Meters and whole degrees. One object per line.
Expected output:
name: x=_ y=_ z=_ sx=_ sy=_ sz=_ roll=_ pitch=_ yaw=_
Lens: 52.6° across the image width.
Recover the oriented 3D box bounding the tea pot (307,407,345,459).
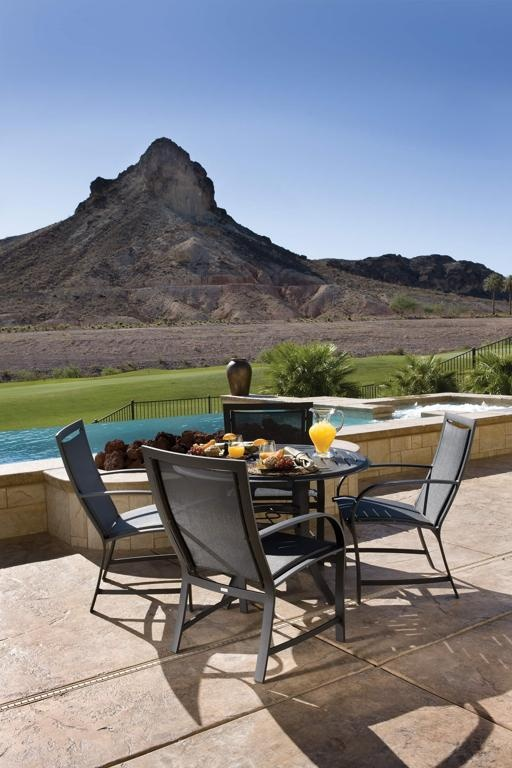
tea pot: x=0.386 y=0.272 z=2.897 sx=0.264 sy=0.312 sz=0.184 roll=2 pitch=-5 yaw=-32

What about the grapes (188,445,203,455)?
grapes: x=-0.301 y=0.332 z=2.603 sx=0.052 sy=0.032 sz=0.054 roll=-4 pitch=4 yaw=-37

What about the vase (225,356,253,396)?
vase: x=-0.502 y=-0.182 z=14.999 sx=0.660 sy=1.079 sz=0.570 roll=-1 pitch=7 yaw=-9

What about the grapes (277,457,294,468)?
grapes: x=0.137 y=0.367 z=2.351 sx=0.046 sy=0.041 sz=0.061 roll=18 pitch=0 yaw=-36

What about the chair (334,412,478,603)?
chair: x=0.794 y=0.637 z=2.855 sx=0.722 sy=0.938 sz=0.712 roll=1 pitch=1 yaw=-16

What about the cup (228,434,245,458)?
cup: x=-0.096 y=0.322 z=2.624 sx=0.096 sy=0.141 sz=0.102 roll=0 pitch=-3 yaw=0

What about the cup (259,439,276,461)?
cup: x=0.053 y=0.325 z=2.533 sx=0.082 sy=0.124 sz=0.085 roll=0 pitch=4 yaw=0

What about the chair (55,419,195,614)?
chair: x=-0.830 y=0.644 z=3.081 sx=0.826 sy=1.384 sz=0.867 roll=-4 pitch=6 yaw=-8

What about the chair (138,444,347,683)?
chair: x=-0.015 y=0.626 z=1.929 sx=0.596 sy=0.772 sz=0.635 roll=-2 pitch=1 yaw=19
